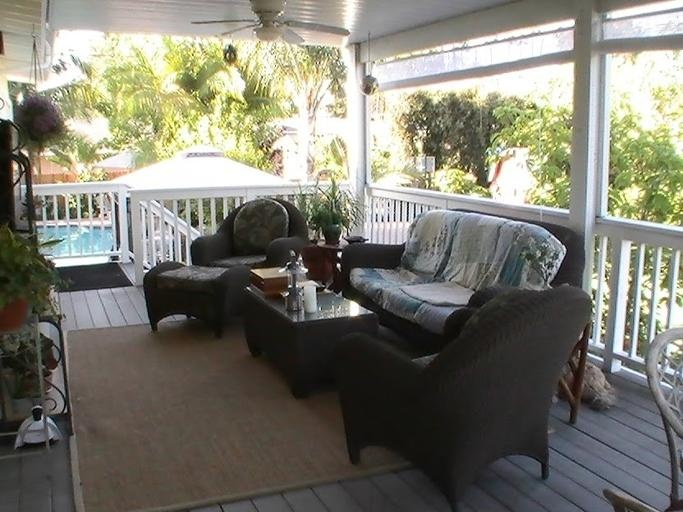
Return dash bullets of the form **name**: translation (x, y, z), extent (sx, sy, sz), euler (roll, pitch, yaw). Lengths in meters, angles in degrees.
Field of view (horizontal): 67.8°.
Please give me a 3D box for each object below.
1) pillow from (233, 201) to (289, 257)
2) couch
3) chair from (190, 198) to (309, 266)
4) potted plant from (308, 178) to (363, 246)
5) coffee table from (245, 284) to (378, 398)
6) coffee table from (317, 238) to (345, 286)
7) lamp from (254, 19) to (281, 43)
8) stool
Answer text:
- **pillow**: translation (-0.847, -0.319, 5.344), extent (0.463, 0.629, 0.203), euler (1, -7, 14)
- **couch**: translation (0.933, 0.070, 4.174), extent (1.111, 0.983, 1.857), euler (-5, 10, -26)
- **chair**: translation (-0.850, -0.146, 5.289), extent (0.857, 0.950, 0.783), euler (1, -2, 12)
- **potted plant**: translation (-0.078, -0.508, 5.853), extent (0.491, 0.756, 0.602), euler (1, 1, 4)
- **coffee table**: translation (-0.352, 0.531, 3.783), extent (0.852, 0.697, 1.066), euler (-2, 12, -26)
- **coffee table**: translation (-0.033, 0.097, 5.631), extent (0.426, 0.496, 0.442), euler (2, 5, 6)
- **lamp**: translation (-0.632, -1.978, 4.483), extent (0.231, 0.117, 0.284), euler (-1, 14, -6)
- **stool**: translation (-1.301, 0.373, 4.810), extent (0.878, 0.604, 0.686), euler (5, 10, 21)
